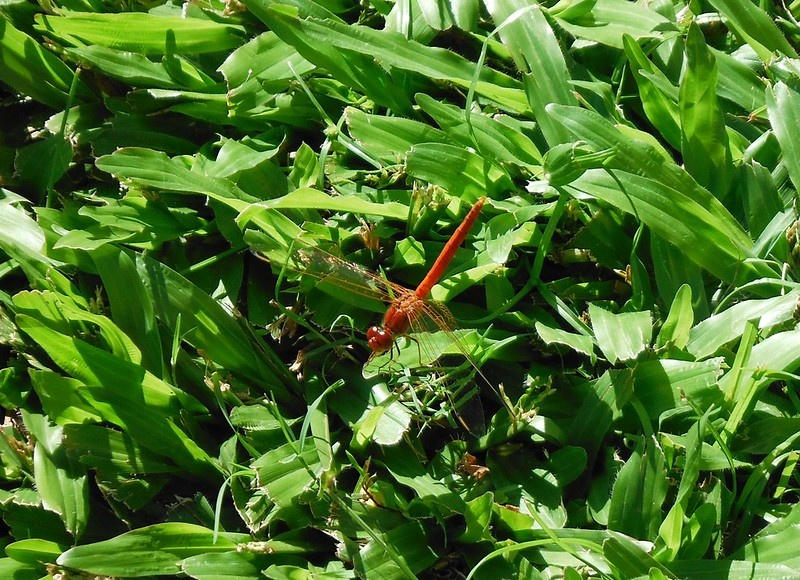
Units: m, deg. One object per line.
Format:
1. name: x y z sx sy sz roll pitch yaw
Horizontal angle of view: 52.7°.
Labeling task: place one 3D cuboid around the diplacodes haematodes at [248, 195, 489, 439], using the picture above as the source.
1. diplacodes haematodes: -0.014 0.013 1.398 0.337 0.190 0.271 -3 51 -4
